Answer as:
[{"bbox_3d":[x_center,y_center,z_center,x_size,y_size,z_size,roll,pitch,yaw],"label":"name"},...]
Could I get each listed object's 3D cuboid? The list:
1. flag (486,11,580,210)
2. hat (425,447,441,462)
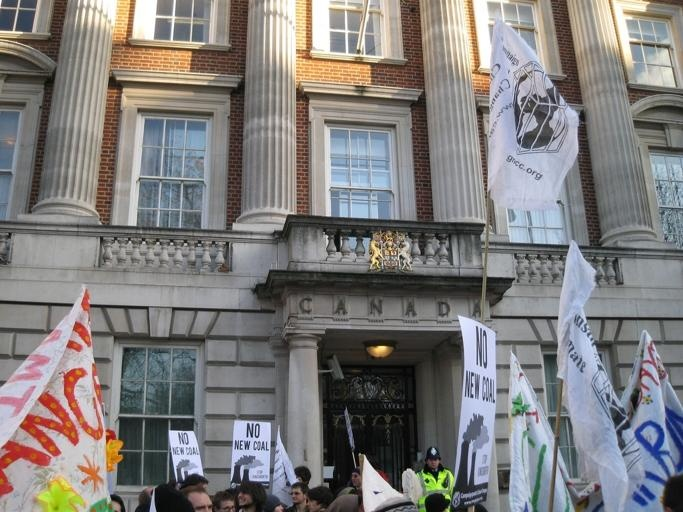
[{"bbox_3d":[2.701,-2.239,10.198,1.304,3.247,0.598,-5,-14,9],"label":"flag"},{"bbox_3d":[1.576,3.414,11.935,0.262,0.266,0.390,-1,-12,-2],"label":"hat"}]
